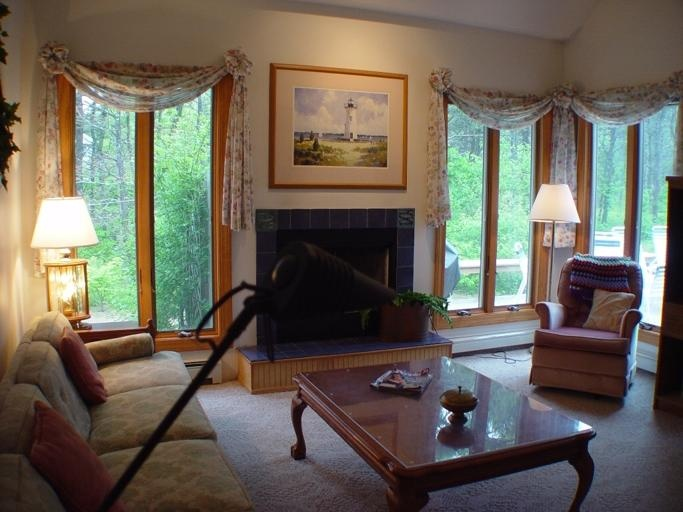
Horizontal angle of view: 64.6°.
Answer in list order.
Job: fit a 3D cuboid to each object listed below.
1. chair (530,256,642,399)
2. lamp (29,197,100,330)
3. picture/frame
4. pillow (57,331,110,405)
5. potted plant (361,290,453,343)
[{"bbox_3d":[2.302,0.595,5.019,0.884,1.163,1.040,2,3,25],"label":"chair"},{"bbox_3d":[-2.163,0.026,4.255,0.443,0.997,0.442,3,13,-26],"label":"lamp"},{"bbox_3d":[-0.082,-1.266,5.168,1.208,1.088,0.052,0,1,-20],"label":"picture/frame"},{"bbox_3d":[-1.673,0.745,3.510,0.162,0.301,0.335,-4,25,-19],"label":"pillow"},{"bbox_3d":[0.641,0.595,5.487,0.901,0.497,0.898,-1,-10,5],"label":"potted plant"}]
